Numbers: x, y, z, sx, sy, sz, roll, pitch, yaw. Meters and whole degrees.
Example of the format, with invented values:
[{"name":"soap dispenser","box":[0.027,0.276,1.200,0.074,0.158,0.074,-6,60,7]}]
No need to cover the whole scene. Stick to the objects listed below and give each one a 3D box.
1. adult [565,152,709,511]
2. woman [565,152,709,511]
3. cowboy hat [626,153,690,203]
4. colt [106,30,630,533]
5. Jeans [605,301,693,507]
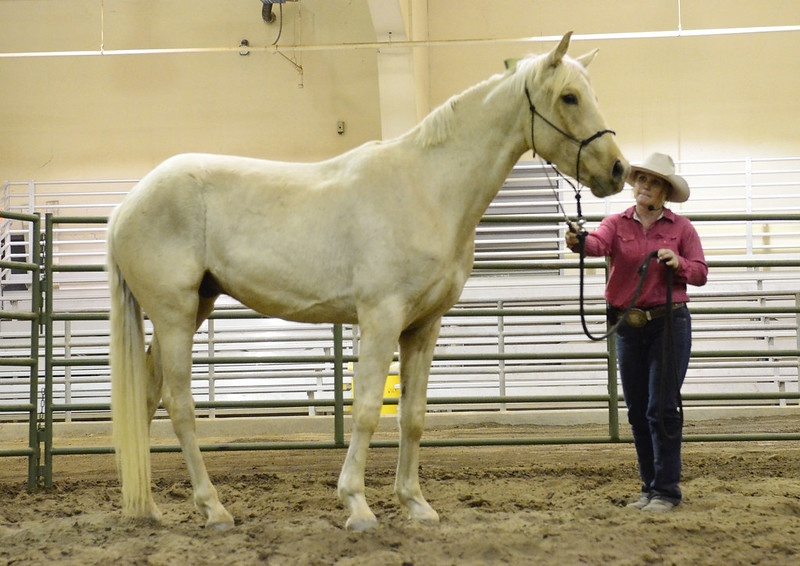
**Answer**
[{"name":"adult","box":[3.069,0.602,19.999,1.455,3.791,1.970,-1,-2,36]},{"name":"woman","box":[2.637,0.505,19.444,1.802,4.125,1.352,3,-8,-13]},{"name":"cowboy hat","box":[2.942,-1.188,19.538,0.701,0.577,0.353,-1,13,0]},{"name":"colt","box":[-0.532,0.070,19.640,6.363,5.512,1.852,-2,-4,17]},{"name":"Jeans","box":[2.873,1.395,19.706,0.850,2.217,0.846,3,9,10]}]
